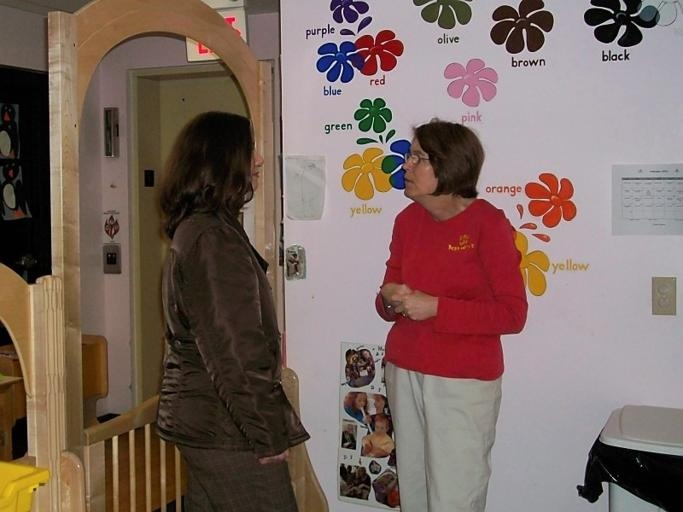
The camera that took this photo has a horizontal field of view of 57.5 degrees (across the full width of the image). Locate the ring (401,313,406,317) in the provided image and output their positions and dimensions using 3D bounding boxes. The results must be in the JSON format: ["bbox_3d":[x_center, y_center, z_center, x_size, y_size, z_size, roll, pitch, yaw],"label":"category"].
[{"bbox_3d":[0.232,0.218,2.304,0.013,0.004,0.013,18,7,-2],"label":"ring"}]
